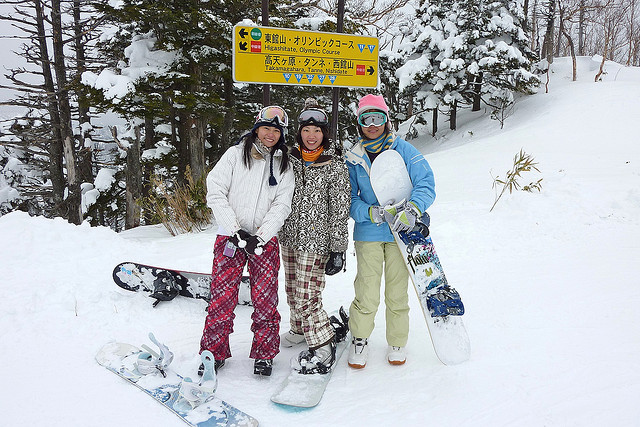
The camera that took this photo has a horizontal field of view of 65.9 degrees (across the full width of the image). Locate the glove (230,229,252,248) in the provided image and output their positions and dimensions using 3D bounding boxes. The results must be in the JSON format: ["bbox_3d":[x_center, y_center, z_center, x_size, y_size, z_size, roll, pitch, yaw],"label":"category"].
[{"bbox_3d":[-1.097,0.337,6.805,0.167,0.249,0.073,14,-34,-3],"label":"glove"}]

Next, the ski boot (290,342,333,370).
[{"bbox_3d":[-0.124,2.010,6.955,0.491,0.207,0.308,-9,10,-11],"label":"ski boot"}]

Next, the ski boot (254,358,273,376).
[{"bbox_3d":[-0.787,2.131,6.844,0.210,0.225,0.210,4,5,-6],"label":"ski boot"}]

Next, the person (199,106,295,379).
[{"bbox_3d":[-0.965,0.390,6.917,1.262,3.695,0.797,-2,10,3],"label":"person"}]

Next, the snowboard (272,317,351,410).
[{"bbox_3d":[-0.082,2.193,6.906,0.520,0.604,1.774,15,45,23],"label":"snowboard"}]

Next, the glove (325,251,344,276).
[{"bbox_3d":[0.208,0.693,6.842,0.273,0.293,0.121,15,3,5],"label":"glove"}]

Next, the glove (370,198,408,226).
[{"bbox_3d":[0.950,-0.054,6.917,0.473,0.247,0.285,-50,33,-11],"label":"glove"}]
